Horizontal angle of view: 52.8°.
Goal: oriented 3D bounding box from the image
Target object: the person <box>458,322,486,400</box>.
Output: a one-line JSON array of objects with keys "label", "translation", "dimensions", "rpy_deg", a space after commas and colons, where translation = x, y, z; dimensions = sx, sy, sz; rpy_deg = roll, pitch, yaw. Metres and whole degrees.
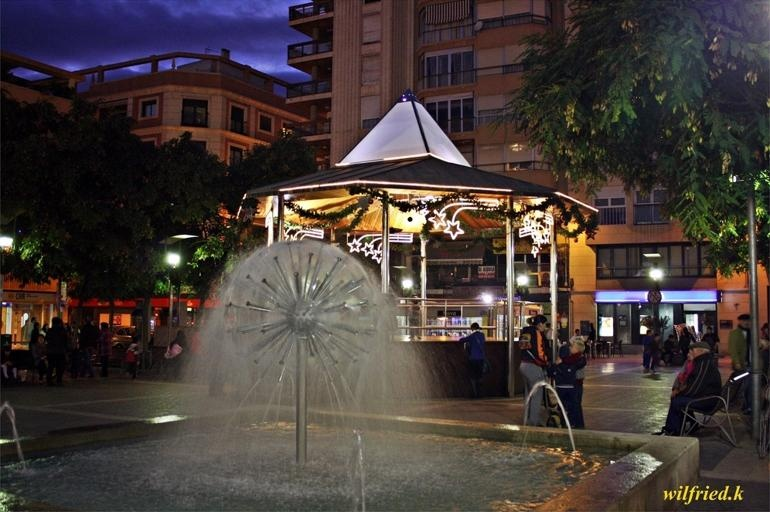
[{"label": "person", "translation": [2.573, 2.987, 22.370], "dimensions": [0.685, 2.076, 0.425], "rpy_deg": [0, -5, 4]}]

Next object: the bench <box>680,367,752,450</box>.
[{"label": "bench", "translation": [6.658, 2.957, 16.285], "dimensions": [0.871, 1.239, 0.993], "rpy_deg": [33, -30, -33]}]
